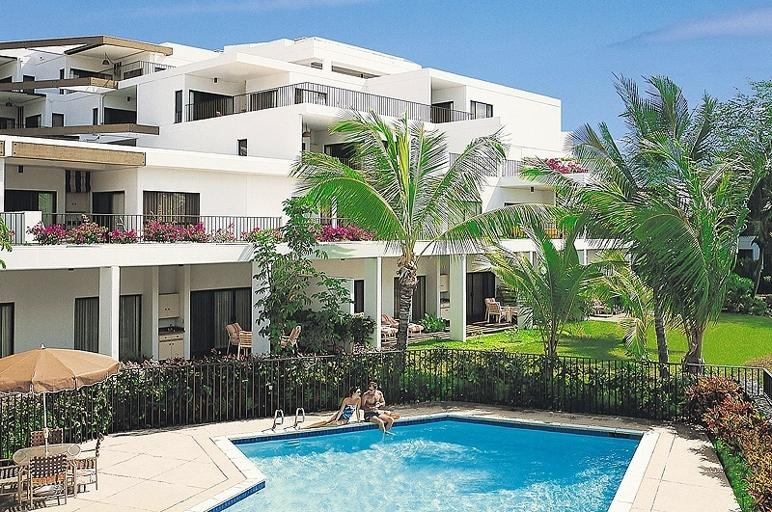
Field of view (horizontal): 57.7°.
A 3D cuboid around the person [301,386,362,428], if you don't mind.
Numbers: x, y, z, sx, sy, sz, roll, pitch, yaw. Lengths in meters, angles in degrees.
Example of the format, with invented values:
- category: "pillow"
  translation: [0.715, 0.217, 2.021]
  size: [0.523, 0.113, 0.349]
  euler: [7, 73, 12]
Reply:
- category: "person"
  translation: [-1.455, 4.662, 21.392]
  size: [1.648, 0.931, 0.577]
  euler: [-7, 14, -30]

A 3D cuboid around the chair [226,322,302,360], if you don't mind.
- category: "chair"
  translation: [-5.138, 3.673, 28.686]
  size: [2.931, 1.585, 1.695]
  euler: [1, -2, 12]

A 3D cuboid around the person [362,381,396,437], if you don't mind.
- category: "person"
  translation: [-0.262, 4.667, 21.633]
  size: [1.111, 1.346, 0.681]
  euler: [9, 15, 34]

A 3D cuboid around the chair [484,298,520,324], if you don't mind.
- category: "chair"
  translation: [6.547, 3.181, 40.114]
  size: [1.681, 1.305, 2.169]
  euler: [1, 13, 4]
